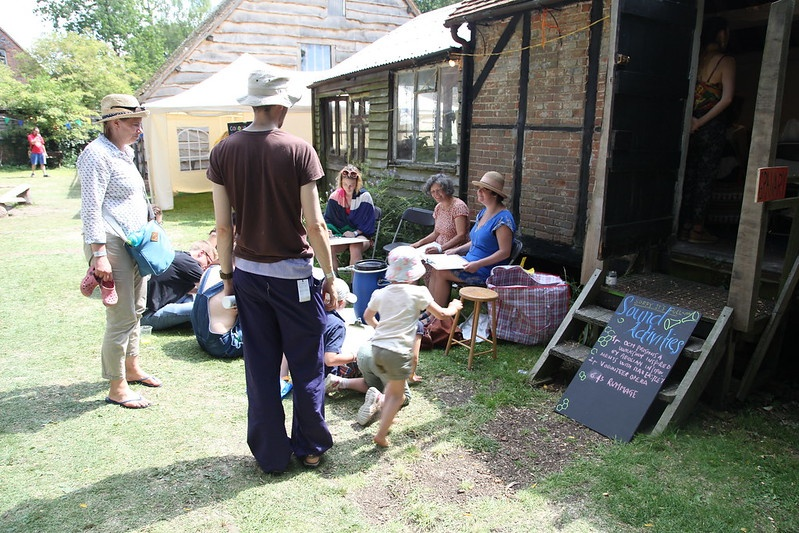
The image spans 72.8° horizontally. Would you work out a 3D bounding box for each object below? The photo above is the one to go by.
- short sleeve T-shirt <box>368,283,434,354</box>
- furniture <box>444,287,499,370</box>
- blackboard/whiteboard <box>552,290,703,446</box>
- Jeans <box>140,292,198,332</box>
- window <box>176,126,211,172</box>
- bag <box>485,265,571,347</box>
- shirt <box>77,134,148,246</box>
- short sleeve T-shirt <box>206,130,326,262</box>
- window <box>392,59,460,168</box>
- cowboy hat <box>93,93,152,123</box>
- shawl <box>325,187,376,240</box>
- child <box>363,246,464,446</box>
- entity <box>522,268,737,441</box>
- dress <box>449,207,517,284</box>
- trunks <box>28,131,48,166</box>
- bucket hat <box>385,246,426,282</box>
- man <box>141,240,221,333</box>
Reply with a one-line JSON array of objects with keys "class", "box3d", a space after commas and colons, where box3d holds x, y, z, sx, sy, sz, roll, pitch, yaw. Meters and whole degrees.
[{"class": "short sleeve T-shirt", "box3d": [-0.017, 0.471, 4.735, 0.602, 0.567, 0.327, -1, -19, 21]}, {"class": "furniture", "box3d": [0.811, 0.664, 5.860, 0.520, 0.686, 0.498, 4, 6, -19]}, {"class": "blackboard/whiteboard", "box3d": [2.034, 0.878, 4.879, 1.004, 1.002, 0.681, -11, 20, -36]}, {"class": "Jeans", "box3d": [-2.720, 0.566, 6.376, 0.522, 0.211, 0.510, -6, 12, -21]}, {"class": "window", "box3d": [-6.565, -3.775, 17.256, 0.032, 1.274, 1.356, 9, 13, 28]}, {"class": "bag", "box3d": [1.525, 0.426, 6.250, 0.867, 0.700, 0.693, 0, 15, 13]}, {"class": "shirt", "box3d": [-2.515, -0.684, 4.766, 0.483, 0.910, 0.625, 16, 22, 42]}, {"class": "short sleeve T-shirt", "box3d": [-0.958, -0.512, 4.126, 1.023, 0.993, 0.554, 3, 5, 19]}, {"class": "window", "box3d": [0.501, -2.653, 9.791, 0.043, 1.726, 2.423, 12, 21, 33]}, {"class": "cowboy hat", "box3d": [-2.457, -1.349, 4.783, 0.339, 0.131, 0.289, -6, 17, 11]}, {"class": "shawl", "box3d": [-0.772, -0.801, 8.185, 0.807, 0.710, 0.426, 6, 12, 5]}, {"class": "child", "box3d": [0.115, 0.728, 4.911, 0.979, 1.653, 0.830, 6, -5, -12]}, {"class": "entity", "box3d": [2.388, 0.648, 5.052, 1.439, 0.533, 1.661, 25, 64, 35]}, {"class": "dress", "box3d": [1.093, -0.316, 6.812, 0.853, 1.030, 0.987, 2, 13, -11]}, {"class": "trunks", "box3d": [-16.099, -5.199, 24.057, 0.558, 1.443, 1.848, -10, 19, -33]}, {"class": "bucket hat", "box3d": [0.037, -0.020, 4.782, 0.286, 0.173, 0.322, -2, 12, 0]}, {"class": "man", "box3d": [-2.410, 0.273, 5.924, 0.780, 0.940, 0.521, -15, 55, -48]}]
